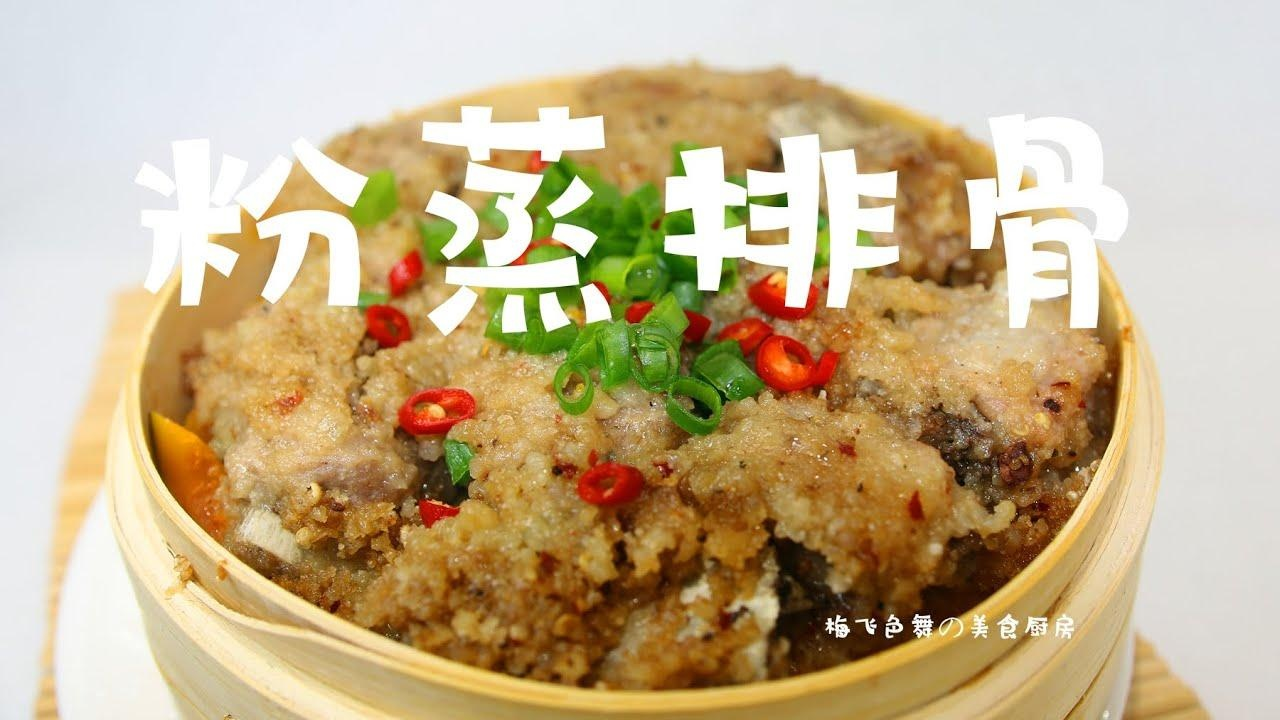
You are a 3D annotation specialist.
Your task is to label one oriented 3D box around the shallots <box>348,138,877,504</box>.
[{"bbox_3d":[0.114,-0.423,5.839,2.449,1.695,0.463,-16,-23,-1],"label":"shallots"}]
